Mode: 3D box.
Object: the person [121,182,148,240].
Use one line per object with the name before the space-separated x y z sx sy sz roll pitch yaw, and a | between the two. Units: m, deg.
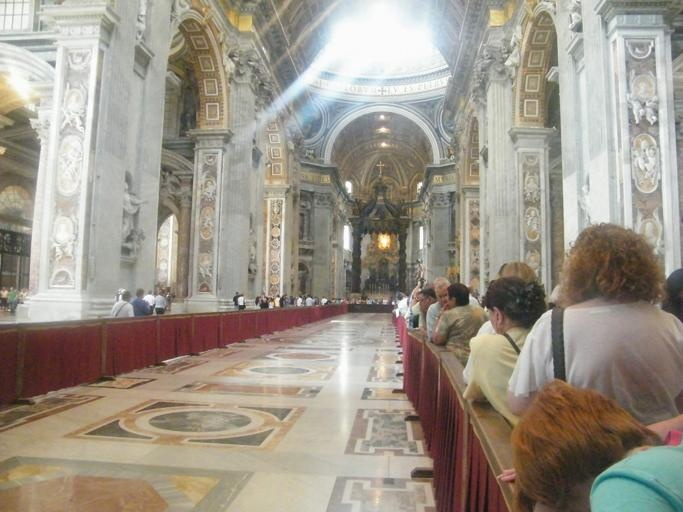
person | -4.181 -0.884 11.451 0.278 1.263 0.503 1 -1 42
